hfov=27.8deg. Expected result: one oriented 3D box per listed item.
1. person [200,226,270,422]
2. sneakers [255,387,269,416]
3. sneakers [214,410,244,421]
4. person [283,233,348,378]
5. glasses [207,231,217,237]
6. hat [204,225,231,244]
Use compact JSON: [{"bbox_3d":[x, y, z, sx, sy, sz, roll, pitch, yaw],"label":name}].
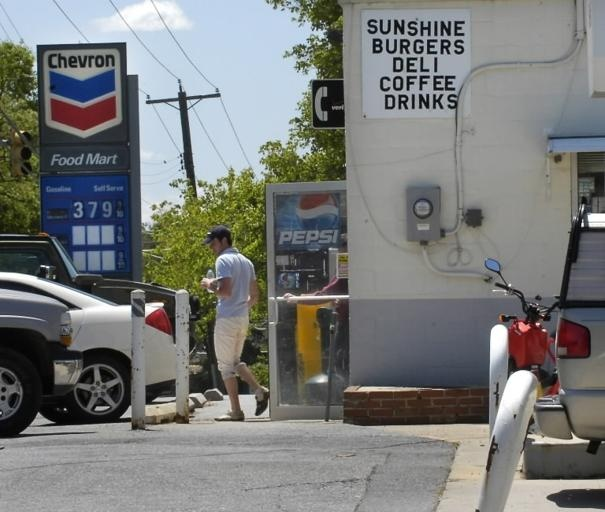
[{"bbox_3d":[-0.773,0.675,12.813,0.464,1.968,0.863,1,3,31],"label":"person"},{"bbox_3d":[-0.430,1.545,13.175,0.151,0.360,0.131,-2,36,-11],"label":"sneakers"},{"bbox_3d":[-0.793,1.702,13.024,0.336,0.131,0.112,2,-4,-7],"label":"sneakers"},{"bbox_3d":[0.300,0.544,13.270,0.498,1.553,0.252,0,3,20],"label":"person"},{"bbox_3d":[-0.976,-0.232,13.001,0.103,0.057,0.142,0,2,7],"label":"glasses"},{"bbox_3d":[-0.905,-0.228,12.966,0.257,0.142,0.182,-1,-1,-1],"label":"hat"}]
